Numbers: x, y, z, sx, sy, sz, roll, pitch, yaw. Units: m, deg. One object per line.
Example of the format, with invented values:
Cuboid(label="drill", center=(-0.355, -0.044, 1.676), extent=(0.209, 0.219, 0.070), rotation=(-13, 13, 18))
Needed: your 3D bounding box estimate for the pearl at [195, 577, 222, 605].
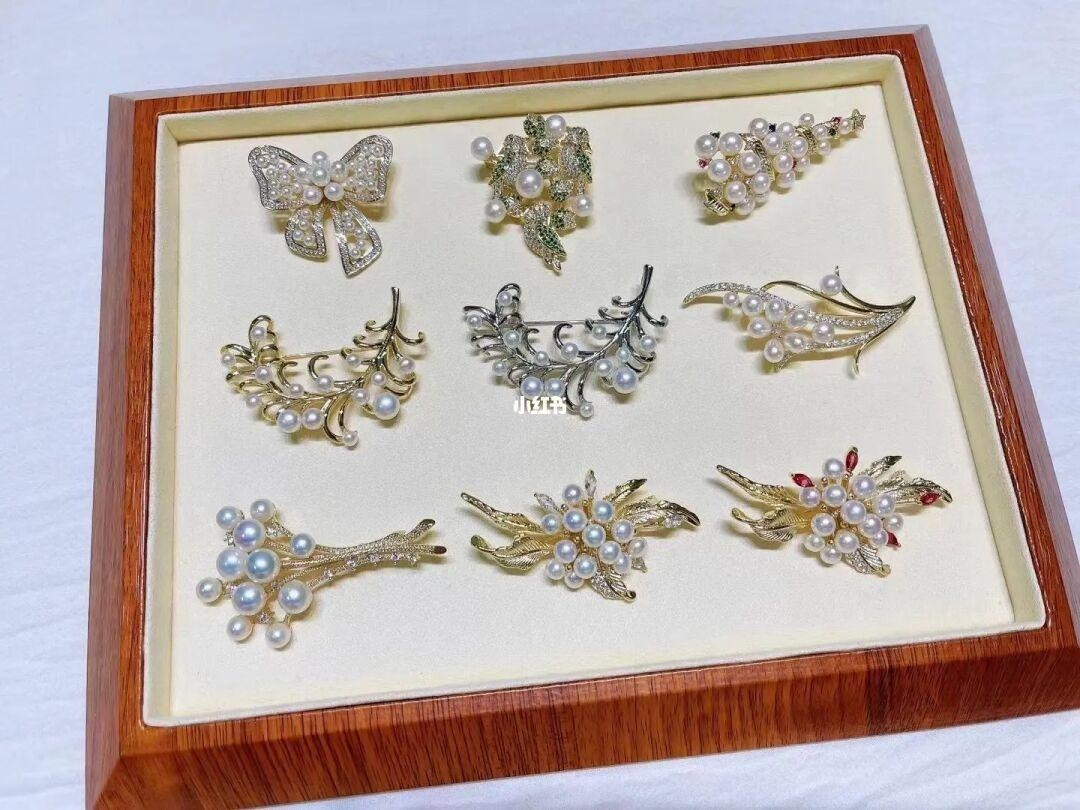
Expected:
Cuboid(label="pearl", center=(-0.757, 0.420, 3.693), extent=(0.048, 0.032, 0.062), rotation=(-21, -81, -9))

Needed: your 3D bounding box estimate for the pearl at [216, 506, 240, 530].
Cuboid(label="pearl", center=(-0.721, 0.258, 3.730), extent=(0.041, 0.056, 0.045), rotation=(25, -112, 8))

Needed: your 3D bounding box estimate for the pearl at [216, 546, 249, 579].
Cuboid(label="pearl", center=(-0.707, 0.363, 3.699), extent=(0.063, 0.068, 0.065), rotation=(23, -44, -12))

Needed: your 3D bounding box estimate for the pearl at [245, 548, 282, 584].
Cuboid(label="pearl", center=(-0.640, 0.364, 3.700), extent=(0.066, 0.042, 0.076), rotation=(-8, -99, -10))

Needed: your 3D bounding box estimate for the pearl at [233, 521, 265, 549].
Cuboid(label="pearl", center=(-0.668, 0.296, 3.705), extent=(0.058, 0.037, 0.065), rotation=(-19, -101, -13))

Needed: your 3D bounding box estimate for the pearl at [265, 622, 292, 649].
Cuboid(label="pearl", center=(-0.599, 0.528, 3.700), extent=(0.052, 0.046, 0.058), rotation=(-18, -65, 5))

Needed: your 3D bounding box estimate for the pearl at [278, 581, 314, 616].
Cuboid(label="pearl", center=(-0.565, 0.446, 3.709), extent=(0.074, 0.053, 0.083), rotation=(-1, -65, -3))

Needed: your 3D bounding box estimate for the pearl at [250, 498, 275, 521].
Cuboid(label="pearl", center=(-0.643, 0.244, 3.735), extent=(0.045, 0.046, 0.050), rotation=(-26, -101, -3))

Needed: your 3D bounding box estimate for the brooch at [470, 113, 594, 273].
Cuboid(label="brooch", center=(0.009, -0.561, 3.909), extent=(0.260, 0.124, 0.417), rotation=(-3, -97, -7))

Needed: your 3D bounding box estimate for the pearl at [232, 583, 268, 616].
Cuboid(label="pearl", center=(-0.672, 0.441, 3.689), extent=(0.064, 0.038, 0.074), rotation=(6, -96, -2))
